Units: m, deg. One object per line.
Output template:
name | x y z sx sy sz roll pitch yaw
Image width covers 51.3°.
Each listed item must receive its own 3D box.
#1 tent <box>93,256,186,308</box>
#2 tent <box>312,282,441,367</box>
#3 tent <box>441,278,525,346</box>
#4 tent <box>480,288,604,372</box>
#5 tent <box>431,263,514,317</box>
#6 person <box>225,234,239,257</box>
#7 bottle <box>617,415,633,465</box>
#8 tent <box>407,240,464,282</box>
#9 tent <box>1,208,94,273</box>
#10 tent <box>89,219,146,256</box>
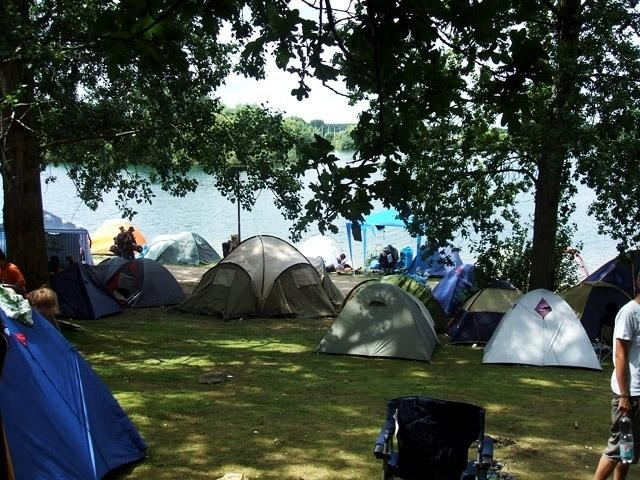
tent | -6.287 1.258 22.535 4.055 1.311 2.293 1 13 37
tent | 1.493 1.744 16.043 2.822 1.274 3.545 0 6 5
tent | 4.032 1.840 16.566 1.590 0.783 1.649 -2 6 -14
tent | 4.805 2.028 14.626 1.845 1.093 2.153 1 1 33
tent | 4.439 1.375 19.838 2.727 1.044 2.826 0 -31 18
person | -3.625 0.208 27.484 0.779 0.551 1.210 -13 -19 -11
bottle | 3.423 2.238 7.500 0.144 0.518 0.141 4 -3 0
tent | 5.272 0.655 30.273 2.177 1.114 2.154 0 7 23
tent | -9.902 0.055 24.880 3.122 2.145 3.055 -1 2 -17
tent | -10.679 -0.173 34.892 2.230 1.152 2.452 1 6 12
